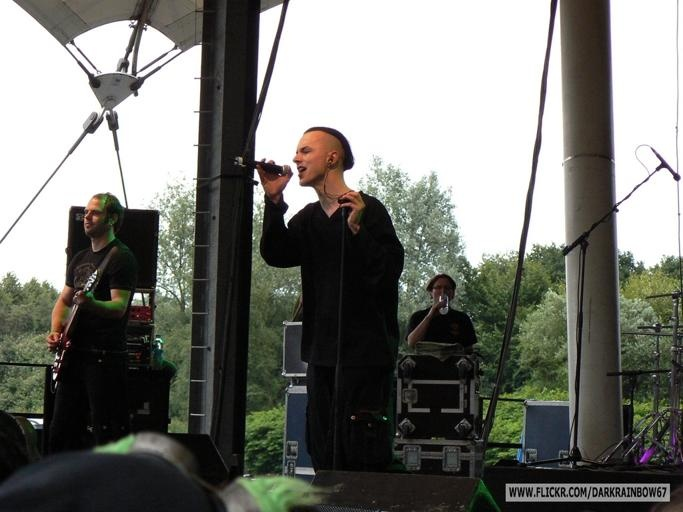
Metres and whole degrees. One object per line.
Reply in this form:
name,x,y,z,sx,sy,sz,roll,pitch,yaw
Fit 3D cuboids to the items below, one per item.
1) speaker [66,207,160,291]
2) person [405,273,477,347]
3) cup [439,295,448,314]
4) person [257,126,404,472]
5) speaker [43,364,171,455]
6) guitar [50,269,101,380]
speaker,-2.797,0.068,11.979,1.094,1.174,0.638,3,-35,-14
person,1.222,0.795,11.869,0.732,1.247,0.718,3,-30,-4
cup,1.225,0.575,11.684,0.105,0.210,0.179,-5,-13,31
person,0.048,0.396,9.694,1.098,3.395,0.619,1,-10,2
speaker,-2.646,2.012,11.246,1.388,1.547,0.818,0,-5,-6
guitar,-2.907,0.765,10.557,0.620,1.286,0.268,-8,-14,41
